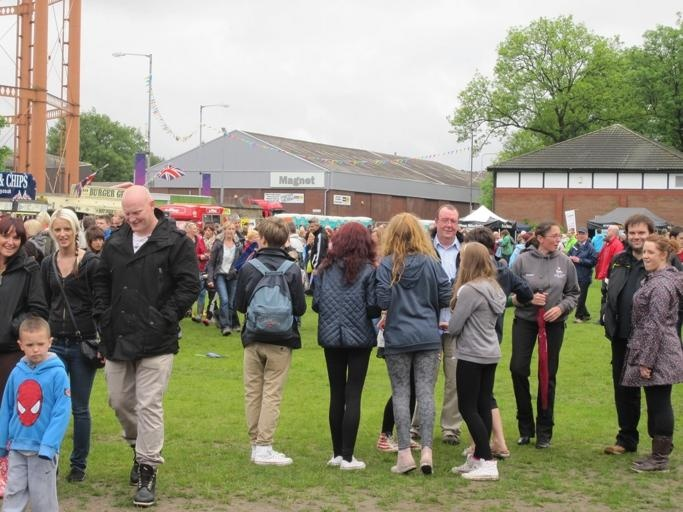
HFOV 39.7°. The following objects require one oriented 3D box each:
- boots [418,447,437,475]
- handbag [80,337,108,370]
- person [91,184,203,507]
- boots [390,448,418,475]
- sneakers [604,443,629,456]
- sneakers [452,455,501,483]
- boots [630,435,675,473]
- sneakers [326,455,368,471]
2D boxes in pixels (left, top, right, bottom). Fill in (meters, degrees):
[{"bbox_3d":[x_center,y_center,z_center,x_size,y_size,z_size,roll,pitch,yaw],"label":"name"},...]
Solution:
[{"bbox_3d":[0.855,2.057,9.651,0.143,0.297,0.278,2,6,5],"label":"boots"},{"bbox_3d":[-2.406,0.937,9.186,0.168,0.317,0.266,-25,-2,17],"label":"handbag"},{"bbox_3d":[-1.821,0.797,9.142,0.883,2.920,0.780,7,8,43],"label":"person"},{"bbox_3d":[0.617,2.082,9.537,0.145,0.272,0.385,-4,-5,-30],"label":"boots"},{"bbox_3d":[2.966,2.116,10.316,0.232,0.103,0.105,11,-12,-9],"label":"sneakers"},{"bbox_3d":[1.350,2.153,9.504,0.500,0.252,0.183,0,-5,21],"label":"sneakers"},{"bbox_3d":[3.221,2.059,9.775,0.507,0.475,0.256,3,0,-1],"label":"boots"},{"bbox_3d":[0.047,2.120,9.705,0.349,0.149,0.143,0,0,-1],"label":"sneakers"}]
